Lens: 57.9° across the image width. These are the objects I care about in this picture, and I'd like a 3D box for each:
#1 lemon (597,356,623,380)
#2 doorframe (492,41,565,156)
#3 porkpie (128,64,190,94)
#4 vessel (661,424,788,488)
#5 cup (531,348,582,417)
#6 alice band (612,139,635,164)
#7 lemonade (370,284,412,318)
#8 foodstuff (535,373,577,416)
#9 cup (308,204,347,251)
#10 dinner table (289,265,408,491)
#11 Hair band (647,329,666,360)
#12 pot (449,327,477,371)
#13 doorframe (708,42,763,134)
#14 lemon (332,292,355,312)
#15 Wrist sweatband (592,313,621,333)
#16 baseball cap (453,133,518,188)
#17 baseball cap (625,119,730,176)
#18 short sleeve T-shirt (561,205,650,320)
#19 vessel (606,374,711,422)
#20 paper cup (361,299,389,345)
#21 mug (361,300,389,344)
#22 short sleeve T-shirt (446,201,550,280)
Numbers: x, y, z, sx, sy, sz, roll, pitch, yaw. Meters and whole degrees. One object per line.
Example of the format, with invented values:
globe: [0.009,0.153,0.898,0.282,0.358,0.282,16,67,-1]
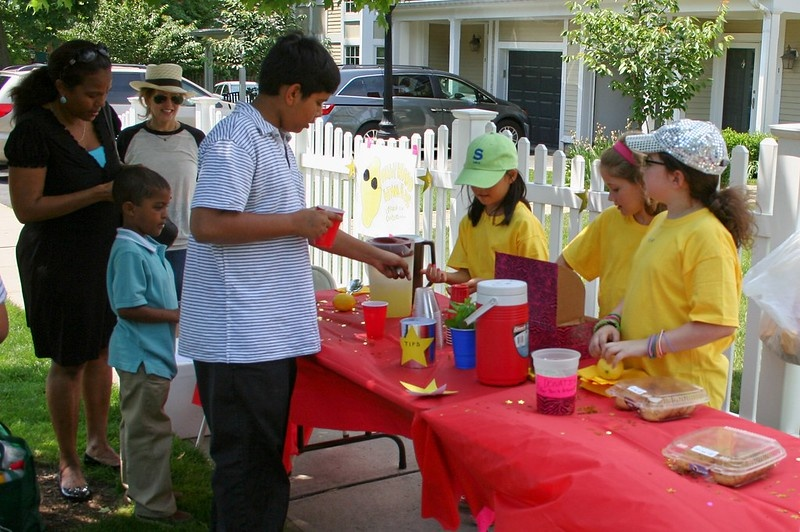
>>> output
lemon: [0.854,0.414,2.959,0.086,0.083,0.084,0,-2,-1]
doorframe: [3.377,-4.656,18.821,1.466,2.517,0.062,12,-31,-5]
porkpie: [-1.681,-1.365,5.325,0.327,0.152,0.372,8,9,19]
vessel: [1.109,0.653,2.496,0.366,0.122,0.225,-4,11,-24]
cup: [0.603,0.451,2.886,0.230,0.237,0.219,0,8,0]
alice band: [1.072,-0.536,3.459,0.044,0.112,0.083,-41,1,27]
lemonade: [-0.052,0.167,3.820,0.193,0.198,0.184,-2,1,1]
foodstuff: [0.604,0.475,2.797,0.154,0.147,0.155,2,5,15]
cup: [-0.322,-0.165,3.155,0.171,0.193,0.175,14,9,-2]
dinner table: [-0.418,0.754,4.657,0.774,1.148,0.747,-8,-12,-17]
Hair band: [1.021,0.316,2.909,0.044,0.085,0.096,0,-16,15]
pot: [0.278,0.375,3.249,0.161,0.159,0.160,-4,-12,-1]
doorframe: [7.144,-3.866,15.616,0.864,1.798,2.168,4,11,22]
lemon: [-0.296,0.197,3.982,0.109,0.084,0.085,-9,33,-43]
Wrist sweatband: [0.917,0.245,3.188,0.077,0.042,0.090,-12,3,10]
baseball cap: [0.477,-0.587,3.935,0.245,0.189,0.352,13,34,36]
baseball cap: [1.150,-0.496,2.993,0.323,0.127,0.217,20,31,21]
short sleeve T-shirt: [1.024,-0.022,3.590,0.165,0.493,0.557,18,12,-27]
vessel: [0.999,0.492,2.753,0.213,0.075,0.202,-6,10,-32]
paper cup: [-0.125,0.271,3.600,0.149,0.162,0.153,-1,1,0]
mug: [-0.128,0.265,3.596,0.142,0.150,0.141,-3,1,0]
short sleeve T-shirt: [0.547,-0.142,3.976,0.204,0.399,0.511,-4,9,-36]
